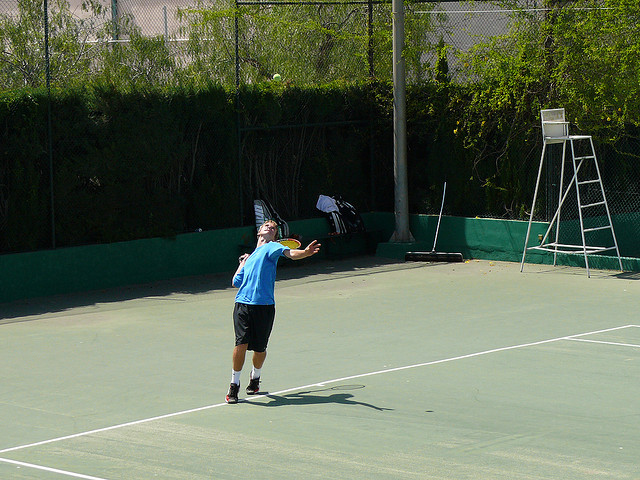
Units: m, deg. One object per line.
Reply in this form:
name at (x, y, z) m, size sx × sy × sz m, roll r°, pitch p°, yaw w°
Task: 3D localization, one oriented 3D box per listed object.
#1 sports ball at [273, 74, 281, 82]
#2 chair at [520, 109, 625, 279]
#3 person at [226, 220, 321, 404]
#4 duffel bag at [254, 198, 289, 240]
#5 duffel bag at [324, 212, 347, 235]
sports ball at (-0.947, -3.562, 17.307) m, size 0.146 × 0.141 × 0.151 m, roll -37°, pitch -23°, yaw -19°
chair at (5.101, -1.040, 16.049) m, size 1.763 × 3.177 × 3.034 m, roll 3°, pitch 9°, yaw 29°
person at (-0.613, 0.766, 8.366) m, size 0.826 × 1.839 × 0.681 m, roll -2°, pitch 7°, yaw -9°
duffel bag at (-1.050, -0.465, 17.060) m, size 0.743 × 0.788 × 1.123 m, roll -1°, pitch 8°, yaw -4°
duffel bag at (0.352, -0.365, 18.041) m, size 0.529 × 0.480 × 0.235 m, roll 4°, pitch 9°, yaw 34°
